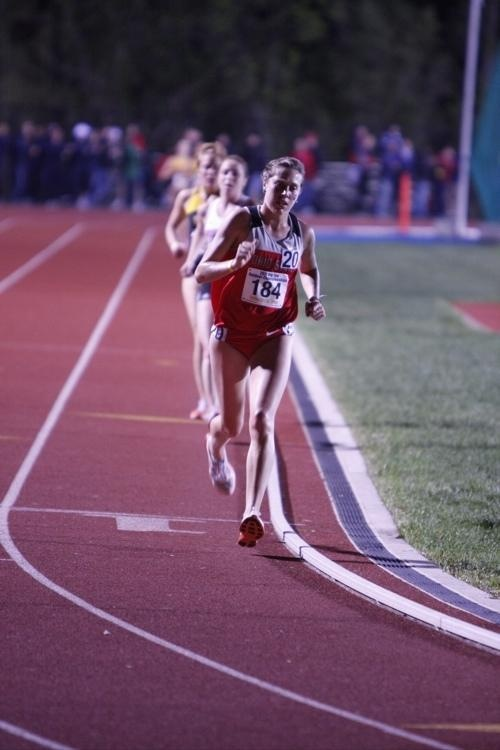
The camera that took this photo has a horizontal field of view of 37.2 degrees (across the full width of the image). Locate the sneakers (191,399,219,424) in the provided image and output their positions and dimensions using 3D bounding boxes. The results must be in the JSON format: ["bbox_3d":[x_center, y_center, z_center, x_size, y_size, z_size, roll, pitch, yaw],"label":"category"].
[{"bbox_3d":[-0.356,0.286,5.813,0.159,0.175,0.427,1,-4,-6],"label":"sneakers"}]

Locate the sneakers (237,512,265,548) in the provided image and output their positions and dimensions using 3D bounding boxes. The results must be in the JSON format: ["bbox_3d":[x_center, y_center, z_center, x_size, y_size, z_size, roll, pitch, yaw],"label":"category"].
[{"bbox_3d":[0.007,0.659,3.201,0.091,0.198,0.090,12,47,-2],"label":"sneakers"}]
